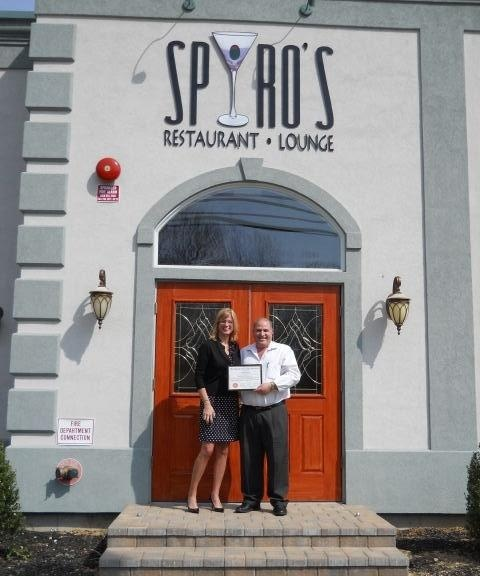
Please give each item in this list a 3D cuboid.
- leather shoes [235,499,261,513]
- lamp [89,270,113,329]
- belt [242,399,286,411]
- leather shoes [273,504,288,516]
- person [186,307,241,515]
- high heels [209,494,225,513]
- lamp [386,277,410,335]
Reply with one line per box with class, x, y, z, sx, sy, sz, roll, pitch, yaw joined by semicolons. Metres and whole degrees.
leather shoes;0.073;1.971;6.954;0.088;0.119;0.241;-13;-25;44
lamp;-1.365;0.086;7.541;0.228;0.591;0.256;2;-8;-13
belt;0.209;1.068;6.942;0.388;0.104;0.156;1;-9;-7
leather shoes;0.360;1.970;6.847;0.122;0.107;0.105;0;-8;0
person;-0.231;1.097;6.918;0.466;1.800;0.369;1;-7;-6
high heels;-0.212;1.965;7.007;0.067;0.140;0.232;5;-26;-14
lamp;1.588;0.169;7.723;0.248;0.574;0.307;-2;-8;14
